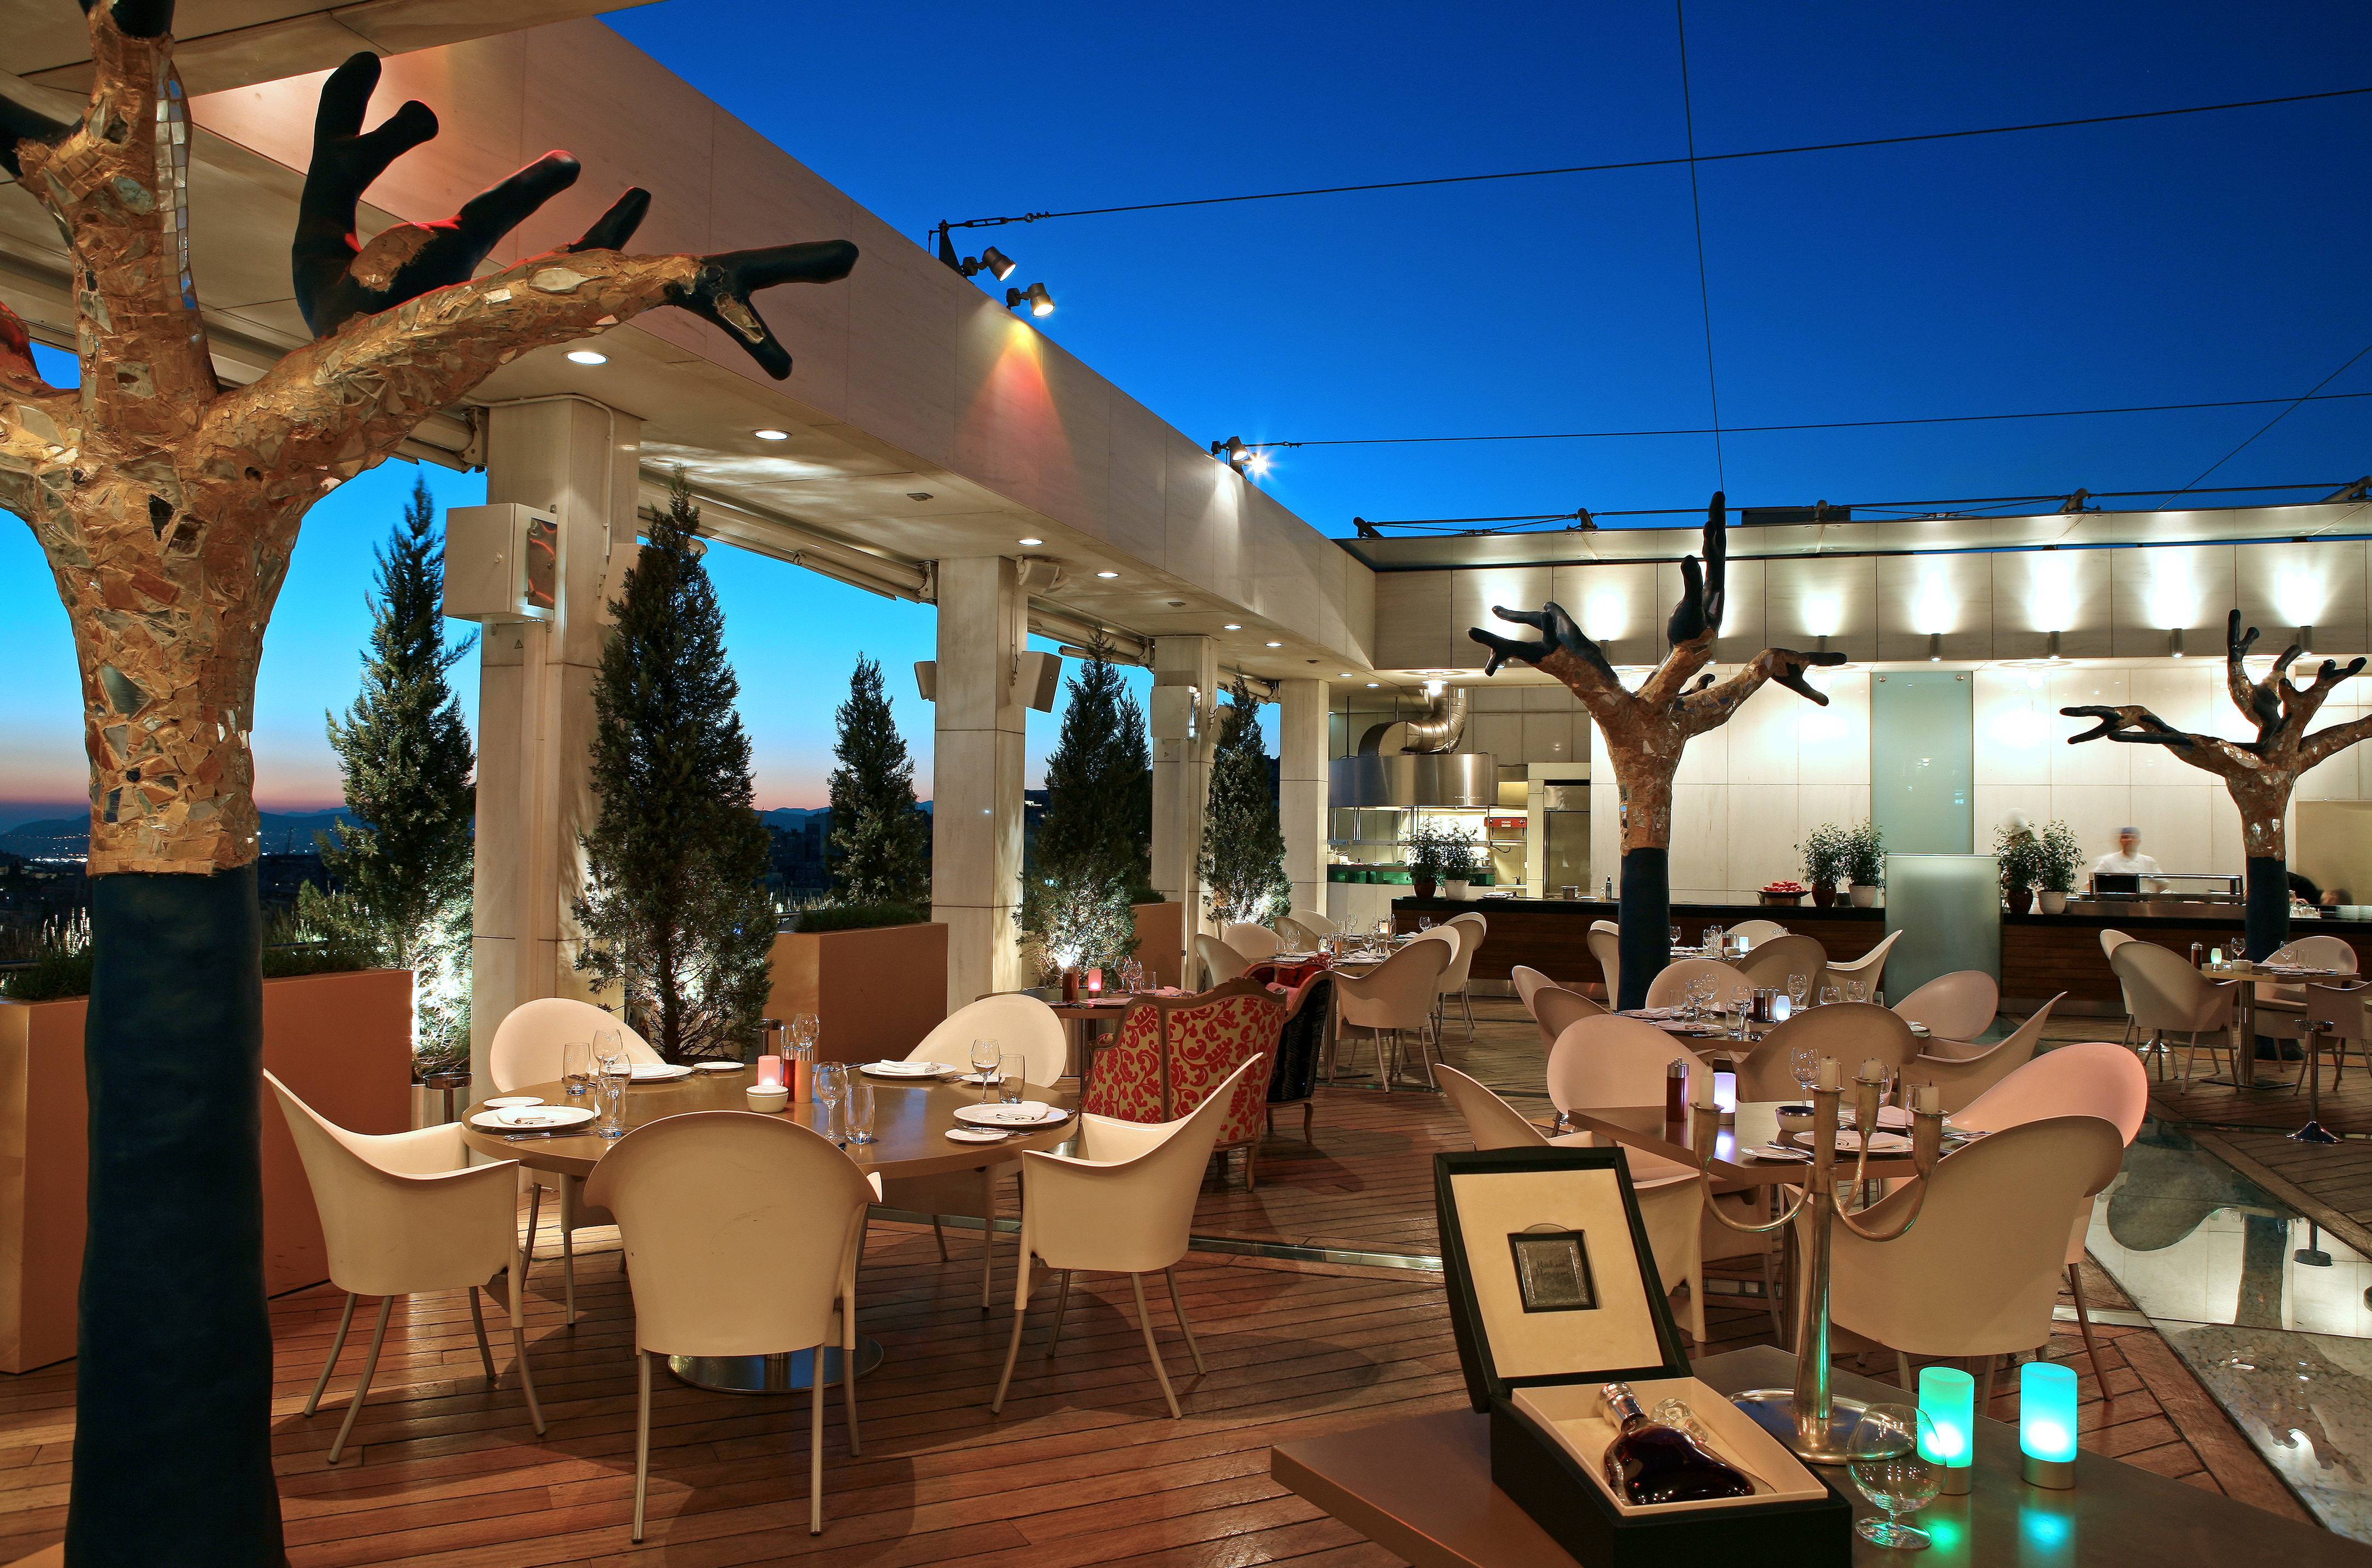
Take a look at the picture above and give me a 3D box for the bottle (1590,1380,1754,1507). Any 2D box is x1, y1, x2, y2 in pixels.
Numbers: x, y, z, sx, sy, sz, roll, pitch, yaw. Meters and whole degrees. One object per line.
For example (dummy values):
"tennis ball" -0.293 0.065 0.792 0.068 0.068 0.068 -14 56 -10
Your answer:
"bottle" 0.995 1.350 3.371 0.306 0.158 0.222 1 4 3

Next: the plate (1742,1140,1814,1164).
"plate" 2.041 1.280 5.708 0.173 0.043 0.180 -3 -6 44

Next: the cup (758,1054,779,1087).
"cup" -1.587 1.109 6.324 0.112 0.126 0.111 0 0 0

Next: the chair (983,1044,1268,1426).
"chair" -0.174 1.806 6.625 1.151 1.517 1.096 1 -8 7

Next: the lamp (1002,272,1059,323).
"lamp" -0.987 -3.103 10.676 0.374 0.387 0.318 4 24 6

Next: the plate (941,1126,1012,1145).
"plate" -0.746 1.273 5.968 0.247 0.015 0.218 1 4 12

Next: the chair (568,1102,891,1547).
"chair" -1.498 1.697 5.508 0.847 1.322 0.849 -1 5 -18

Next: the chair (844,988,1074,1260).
"chair" -1.084 1.465 7.258 1.025 1.325 1.044 -1 -11 21

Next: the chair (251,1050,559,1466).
"chair" -2.921 1.693 6.406 1.280 1.756 1.320 1 -1 -19
